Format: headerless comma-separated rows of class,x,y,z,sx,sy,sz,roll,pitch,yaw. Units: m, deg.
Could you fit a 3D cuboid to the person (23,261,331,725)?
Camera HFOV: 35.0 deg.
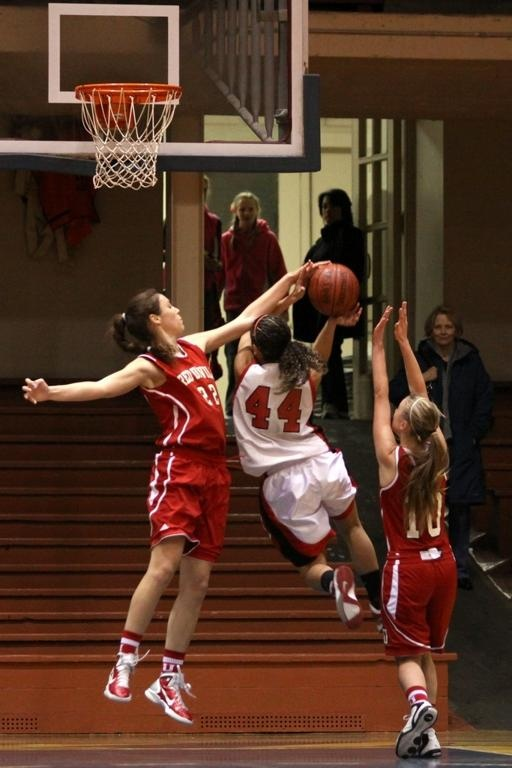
person,-0.325,0.572,2.918,0.729,1.790,0.871,2,12,2

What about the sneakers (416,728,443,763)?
sneakers,0.543,1.110,2.504,0.046,0.052,0.128,1,-8,7

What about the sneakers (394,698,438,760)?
sneakers,0.494,1.072,2.509,0.109,0.219,0.074,3,12,10

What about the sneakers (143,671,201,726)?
sneakers,-0.296,1.039,2.723,0.142,0.152,0.268,0,11,-8

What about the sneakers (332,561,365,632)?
sneakers,0.323,0.700,2.707,0.091,0.222,0.091,-6,-25,-24
